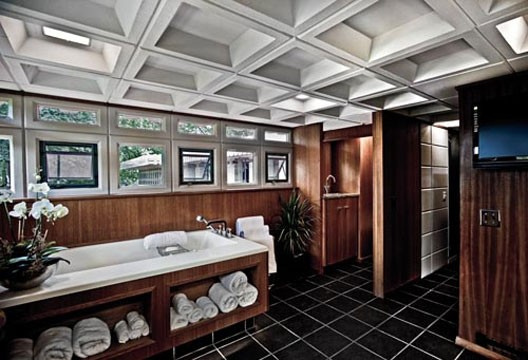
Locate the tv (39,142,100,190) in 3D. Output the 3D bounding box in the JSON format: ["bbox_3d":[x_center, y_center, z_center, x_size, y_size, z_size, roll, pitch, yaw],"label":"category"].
[{"bbox_3d":[-2.556,-0.187,4.192,0.668,0.679,0.047,-2,-3,-32],"label":"tv"}]

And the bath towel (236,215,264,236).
[{"bbox_3d":[-0.234,0.695,5.326,0.531,0.342,0.266,0,-5,-30],"label":"bath towel"}]

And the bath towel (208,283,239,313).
[{"bbox_3d":[-0.524,1.417,3.925,0.310,0.315,0.249,12,8,43],"label":"bath towel"}]

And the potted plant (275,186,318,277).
[{"bbox_3d":[0.531,0.917,5.630,0.643,1.023,0.502,-4,11,-24],"label":"potted plant"}]
